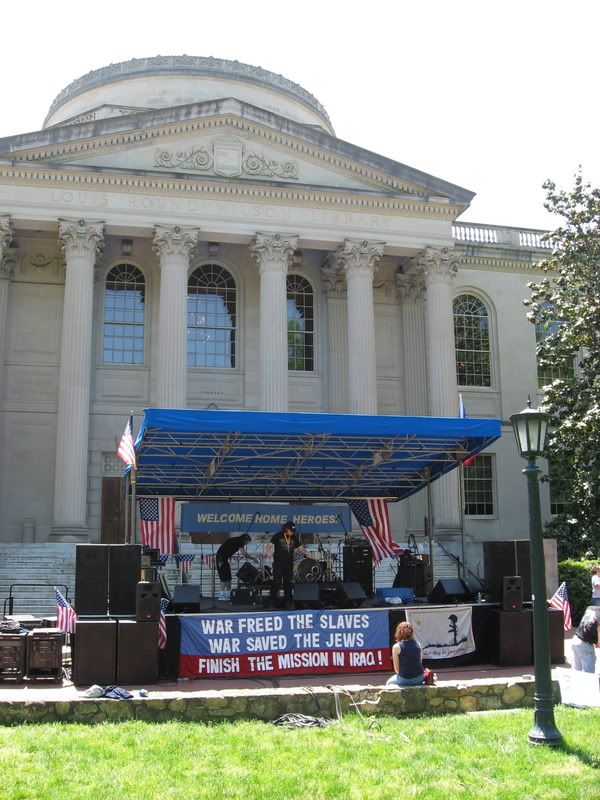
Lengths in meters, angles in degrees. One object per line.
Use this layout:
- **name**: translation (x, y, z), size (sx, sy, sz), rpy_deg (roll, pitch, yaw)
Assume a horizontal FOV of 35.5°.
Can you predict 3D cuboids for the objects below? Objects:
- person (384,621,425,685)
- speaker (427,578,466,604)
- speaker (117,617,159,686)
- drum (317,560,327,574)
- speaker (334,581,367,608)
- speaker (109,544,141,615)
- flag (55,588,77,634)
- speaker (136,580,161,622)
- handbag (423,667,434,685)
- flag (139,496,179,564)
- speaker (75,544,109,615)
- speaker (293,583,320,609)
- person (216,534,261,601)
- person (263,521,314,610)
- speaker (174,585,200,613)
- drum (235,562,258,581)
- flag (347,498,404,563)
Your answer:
- **person**: translation (1.300, 3.110, 11.362), size (0.444, 0.734, 0.628), rpy_deg (3, 1, 6)
- **speaker**: translation (2.626, 3.348, 16.479), size (0.513, 0.394, 0.467), rpy_deg (5, -10, -15)
- **speaker**: translation (-2.147, 3.330, 12.362), size (0.774, 0.971, 0.731), rpy_deg (3, -12, -17)
- **drum**: translation (0.463, 3.329, 18.674), size (0.247, 0.263, 0.409), rpy_deg (2, -5, -6)
- **speaker**: translation (0.931, 3.283, 15.919), size (0.574, 0.283, 0.532), rpy_deg (3, 3, -37)
- **speaker**: translation (-2.457, 2.500, 13.062), size (0.426, 0.856, 0.285), rpy_deg (3, 1, -10)
- **flag**: translation (-3.279, 2.972, 13.109), size (0.282, 0.580, 1.909), rpy_deg (3, 1, -14)
- **speaker**: translation (-2.040, 2.699, 12.598), size (0.314, 0.468, 0.283), rpy_deg (3, 1, -11)
- **handbag**: translation (1.574, 3.372, 11.438), size (0.084, 0.234, 0.099), rpy_deg (-1, -2, -12)
- **flag**: translation (-2.802, 2.523, 18.545), size (0.769, 1.016, 1.442), rpy_deg (3, 1, -9)
- **speaker**: translation (-2.883, 2.487, 13.004), size (0.466, 0.879, 0.282), rpy_deg (3, 1, -11)
- **speaker**: translation (0.126, 3.284, 15.783), size (0.430, 0.292, 0.415), rpy_deg (0, -3, -13)
- **person**: translation (-1.325, 3.284, 18.372), size (0.683, 1.256, 1.309), rpy_deg (3, 1, -3)
- **person**: translation (-0.240, 2.917, 16.662), size (0.586, 1.395, 1.456), rpy_deg (3, 1, 1)
- **speaker**: translation (-1.783, 3.103, 14.687), size (0.419, 0.364, 0.399), rpy_deg (3, -2, -11)
- **drum**: translation (-0.998, 3.356, 18.219), size (0.279, 0.363, 0.548), rpy_deg (2, 1, -40)
- **flag**: translation (1.625, 2.795, 20.401), size (0.789, 1.239, 2.175), rpy_deg (3, 1, -7)
